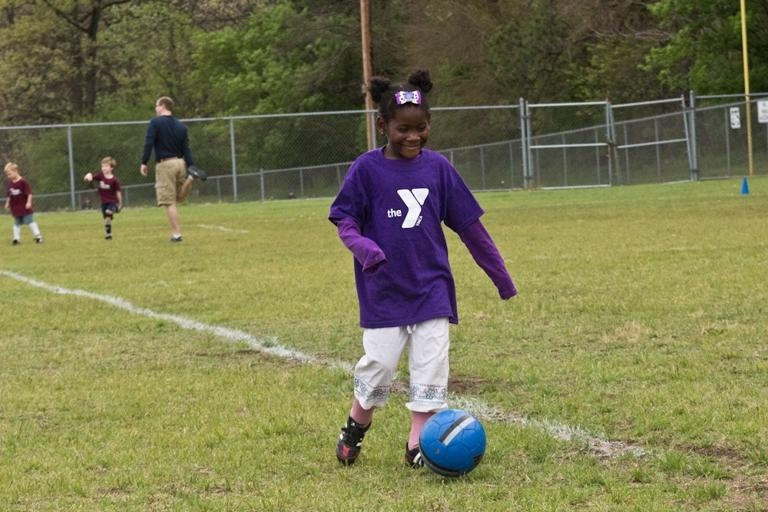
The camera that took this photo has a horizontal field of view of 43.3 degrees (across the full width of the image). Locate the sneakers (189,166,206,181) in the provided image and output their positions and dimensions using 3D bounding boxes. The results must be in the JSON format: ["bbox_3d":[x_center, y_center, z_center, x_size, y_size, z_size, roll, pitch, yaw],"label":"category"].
[{"bbox_3d":[-2.683,-1.151,13.823,0.192,0.128,0.329,-10,17,-18],"label":"sneakers"}]

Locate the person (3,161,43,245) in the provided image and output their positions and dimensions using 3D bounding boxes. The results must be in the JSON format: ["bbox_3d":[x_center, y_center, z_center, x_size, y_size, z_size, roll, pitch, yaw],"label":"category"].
[{"bbox_3d":[-5.609,-0.817,15.002,0.462,1.249,0.916,-4,4,-22],"label":"person"}]

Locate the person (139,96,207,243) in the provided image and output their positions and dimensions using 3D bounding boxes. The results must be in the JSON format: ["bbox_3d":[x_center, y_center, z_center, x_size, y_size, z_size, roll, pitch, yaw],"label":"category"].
[{"bbox_3d":[-3.136,-1.297,14.175,0.816,2.170,1.404,-3,4,-14],"label":"person"}]

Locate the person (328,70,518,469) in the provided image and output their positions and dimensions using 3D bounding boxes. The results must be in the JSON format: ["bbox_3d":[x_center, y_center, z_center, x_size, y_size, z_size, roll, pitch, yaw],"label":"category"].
[{"bbox_3d":[0.195,0.092,7.093,1.203,2.890,0.427,-2,3,-4],"label":"person"}]

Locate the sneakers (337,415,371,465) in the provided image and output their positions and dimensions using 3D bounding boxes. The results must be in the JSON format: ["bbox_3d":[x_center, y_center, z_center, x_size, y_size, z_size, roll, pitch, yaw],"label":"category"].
[{"bbox_3d":[-0.218,1.379,7.063,0.152,0.187,0.448,25,24,-10],"label":"sneakers"}]
